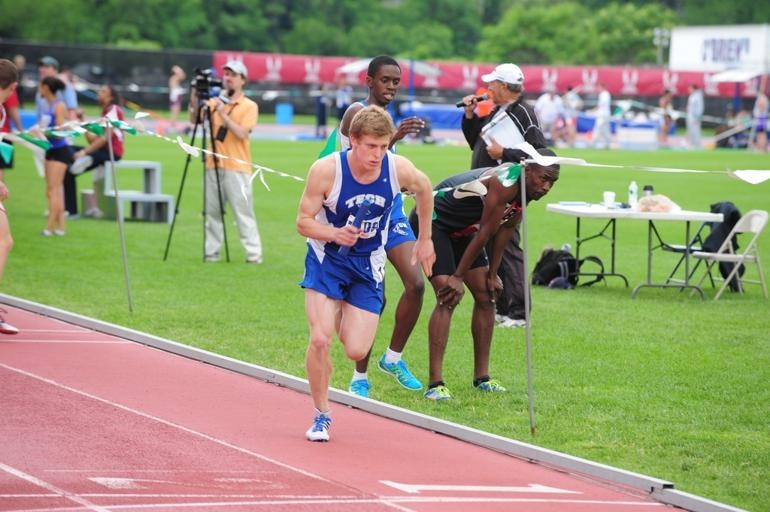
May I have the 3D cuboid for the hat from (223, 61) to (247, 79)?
[{"bbox_3d":[-2.010,-2.538,14.170,0.300,0.213,0.261,-2,10,-30],"label":"hat"}]

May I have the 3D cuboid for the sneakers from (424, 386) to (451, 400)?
[{"bbox_3d":[0.485,1.335,10.091,0.128,0.085,0.220,2,-4,-43],"label":"sneakers"}]

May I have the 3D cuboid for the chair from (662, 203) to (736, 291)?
[{"bbox_3d":[4.059,-0.147,13.919,0.886,0.975,0.600,3,23,5],"label":"chair"}]

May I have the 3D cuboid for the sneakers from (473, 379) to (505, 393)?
[{"bbox_3d":[0.981,1.293,10.302,0.310,0.112,0.117,1,8,31],"label":"sneakers"}]

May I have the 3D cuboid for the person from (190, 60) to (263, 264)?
[{"bbox_3d":[-2.068,-1.270,14.369,0.780,2.775,0.641,1,9,-10],"label":"person"}]

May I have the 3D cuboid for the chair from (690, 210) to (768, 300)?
[{"bbox_3d":[4.527,-0.086,13.885,0.924,1.128,1.828,5,9,17],"label":"chair"}]

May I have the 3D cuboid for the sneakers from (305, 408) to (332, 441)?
[{"bbox_3d":[-0.590,1.522,9.262,0.164,0.235,0.438,6,1,0],"label":"sneakers"}]

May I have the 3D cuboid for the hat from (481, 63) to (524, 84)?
[{"bbox_3d":[1.216,-1.982,11.292,0.390,0.181,0.247,4,18,15],"label":"hat"}]

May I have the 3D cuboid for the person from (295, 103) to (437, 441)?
[{"bbox_3d":[-0.250,0.155,9.265,1.100,2.974,0.578,2,9,-6],"label":"person"}]
